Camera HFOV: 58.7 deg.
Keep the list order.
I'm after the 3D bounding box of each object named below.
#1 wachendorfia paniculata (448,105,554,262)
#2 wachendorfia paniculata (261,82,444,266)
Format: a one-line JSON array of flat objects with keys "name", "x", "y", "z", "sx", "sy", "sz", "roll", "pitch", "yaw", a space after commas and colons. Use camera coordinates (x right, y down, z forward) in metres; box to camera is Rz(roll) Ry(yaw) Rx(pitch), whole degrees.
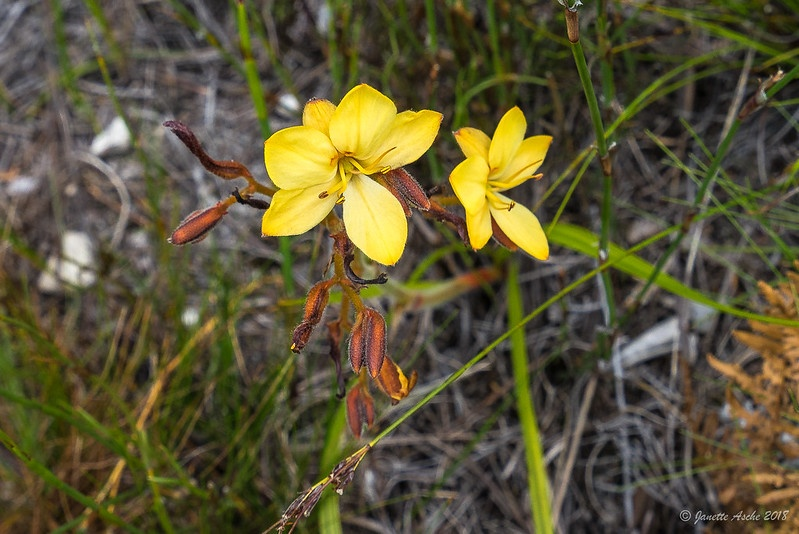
[{"name": "wachendorfia paniculata", "x": 0.510, "y": -0.387, "z": 3.561, "sx": 0.539, "sy": 0.562, "sz": 0.611, "roll": -1, "pitch": 61, "yaw": -3}, {"name": "wachendorfia paniculata", "x": -0.275, "y": -0.467, "z": 3.392, "sx": 0.750, "sy": 0.389, "sz": 0.924, "roll": -26, "pitch": 88, "yaw": -9}]
